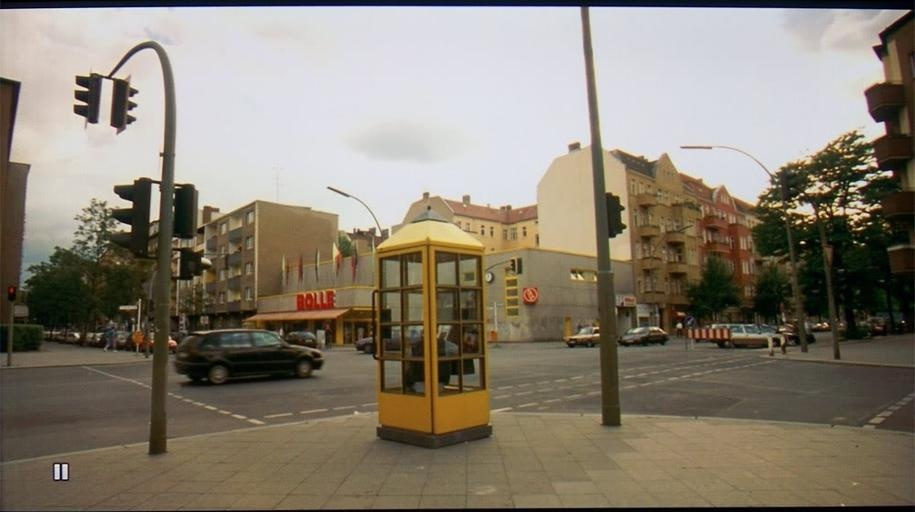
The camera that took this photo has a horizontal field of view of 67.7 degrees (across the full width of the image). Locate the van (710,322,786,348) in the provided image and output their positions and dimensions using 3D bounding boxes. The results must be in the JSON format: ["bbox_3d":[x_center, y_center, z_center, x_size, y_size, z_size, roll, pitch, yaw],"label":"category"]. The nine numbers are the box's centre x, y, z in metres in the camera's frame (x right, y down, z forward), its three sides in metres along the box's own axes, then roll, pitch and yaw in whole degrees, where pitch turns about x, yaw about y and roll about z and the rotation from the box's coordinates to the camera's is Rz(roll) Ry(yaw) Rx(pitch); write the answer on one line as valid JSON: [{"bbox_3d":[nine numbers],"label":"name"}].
[{"bbox_3d":[18.640,5.096,43.508,3.268,1.176,1.855,-5,-9,18],"label":"van"}]

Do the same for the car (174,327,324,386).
[{"bbox_3d":[-8.658,4.119,28.335,5.392,1.641,2.340,1,-5,-28],"label":"car"}]

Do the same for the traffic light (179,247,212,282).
[{"bbox_3d":[-7.527,0.201,19.404,0.759,0.872,1.040,-1,3,-21],"label":"traffic light"}]

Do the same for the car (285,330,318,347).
[{"bbox_3d":[-11.157,5.765,47.702,1.116,0.938,2.344,2,0,-43],"label":"car"}]

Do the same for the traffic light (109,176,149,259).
[{"bbox_3d":[-8.791,-1.053,18.460,0.926,2.201,1.363,-2,3,-26],"label":"traffic light"}]

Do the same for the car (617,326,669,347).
[{"bbox_3d":[14.053,6.038,51.024,3.690,1.366,1.523,-1,3,-29],"label":"car"}]

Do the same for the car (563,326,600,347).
[{"bbox_3d":[8.941,5.684,48.375,2.227,1.327,1.633,0,2,3],"label":"car"}]
